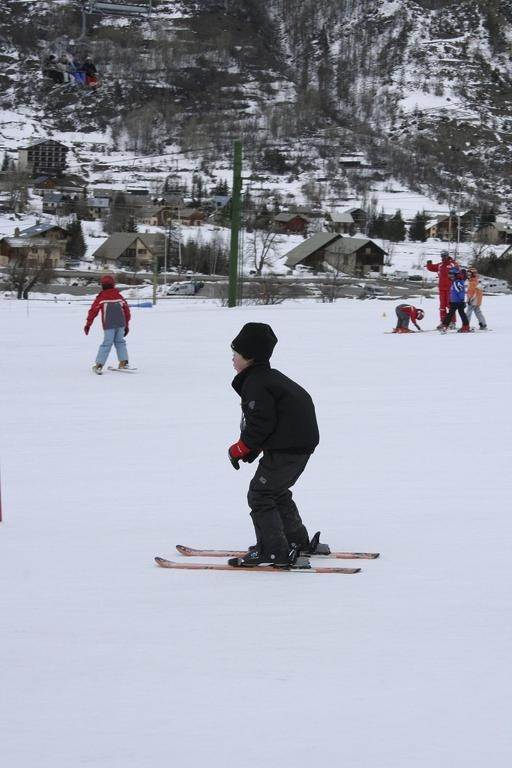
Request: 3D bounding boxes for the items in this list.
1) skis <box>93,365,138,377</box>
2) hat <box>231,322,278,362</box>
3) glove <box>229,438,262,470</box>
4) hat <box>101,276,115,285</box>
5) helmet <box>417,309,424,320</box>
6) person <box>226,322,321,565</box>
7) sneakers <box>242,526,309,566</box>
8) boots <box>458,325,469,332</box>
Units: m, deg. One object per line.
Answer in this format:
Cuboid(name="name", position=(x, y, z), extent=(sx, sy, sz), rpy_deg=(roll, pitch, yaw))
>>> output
Cuboid(name="skis", position=(-1.428, -0.141, 14.177), extent=(0.489, 0.086, 0.053), rpy_deg=(-3, -7, 33))
Cuboid(name="hat", position=(-0.023, -0.224, 6.952), extent=(0.223, 0.188, 0.162), rpy_deg=(30, 21, 34))
Cuboid(name="glove", position=(-0.077, 0.332, 6.953), extent=(0.149, 0.150, 0.062), rpy_deg=(32, 28, -18))
Cuboid(name="hat", position=(-1.388, -0.968, 13.055), extent=(0.102, 0.098, 0.153), rpy_deg=(-5, 3, -8))
Cuboid(name="helmet", position=(2.344, -1.001, 20.043), extent=(0.133, 0.186, 0.179), rpy_deg=(7, 7, 0))
Cuboid(name="person", position=(0.094, 0.317, 7.049), extent=(0.456, 1.268, 0.470), rpy_deg=(1, 11, 0))
Cuboid(name="sneakers", position=(0.103, 0.839, 7.211), extent=(0.411, 0.211, 0.147), rpy_deg=(3, 3, 1))
Cuboid(name="boots", position=(2.925, -0.782, 19.664), extent=(0.073, 0.093, 0.145), rpy_deg=(1, 17, -4))
